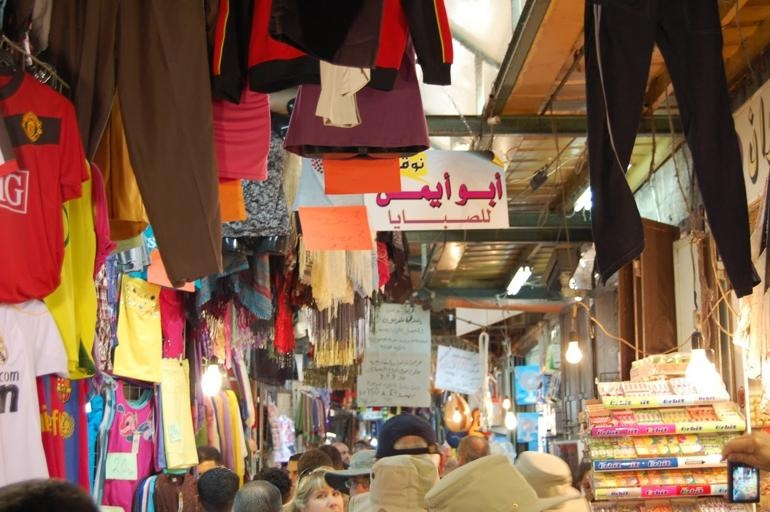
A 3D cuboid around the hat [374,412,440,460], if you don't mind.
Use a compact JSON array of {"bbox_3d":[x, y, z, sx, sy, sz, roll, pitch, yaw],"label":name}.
[{"bbox_3d":[0.142,1.161,6.971,0.236,0.290,0.349,2,-4,0],"label":"hat"}]
